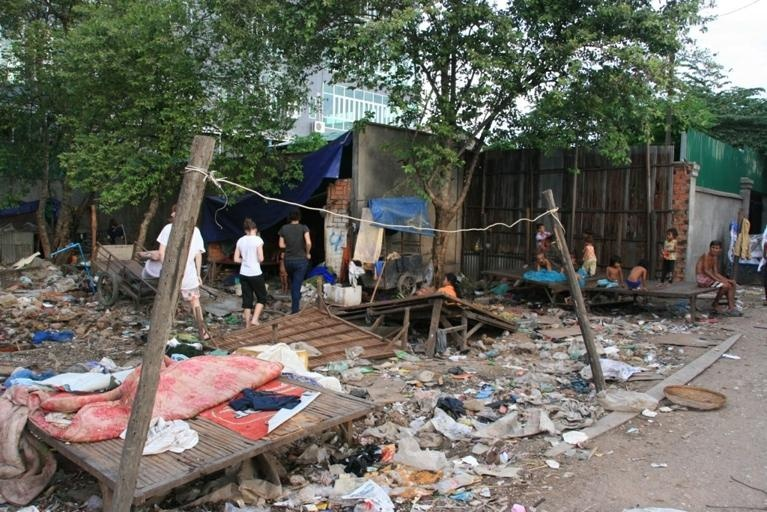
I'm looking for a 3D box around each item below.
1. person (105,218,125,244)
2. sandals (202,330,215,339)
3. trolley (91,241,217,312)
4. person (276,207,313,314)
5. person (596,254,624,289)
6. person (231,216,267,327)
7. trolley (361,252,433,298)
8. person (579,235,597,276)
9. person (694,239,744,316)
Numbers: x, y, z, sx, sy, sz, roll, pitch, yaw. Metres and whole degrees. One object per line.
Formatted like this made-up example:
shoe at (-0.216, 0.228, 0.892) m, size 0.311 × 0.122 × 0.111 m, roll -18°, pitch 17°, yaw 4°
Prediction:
person at (-8.020, -0.748, 18.874) m, size 0.467 × 0.703 × 0.731 m, roll 2°, pitch 3°, yaw -24°
sandals at (-3.226, 1.449, 11.565) m, size 0.229 × 0.050 × 0.205 m, roll -1°, pitch 4°, yaw -15°
trolley at (-5.918, 0.372, 14.533) m, size 2.858 × 1.228 × 1.710 m, roll 23°, pitch 16°, yaw 33°
person at (-1.845, 0.091, 12.993) m, size 0.640 × 2.157 × 0.904 m, roll 3°, pitch 3°, yaw -10°
person at (5.528, 0.379, 15.202) m, size 0.629 × 0.831 × 0.730 m, roll 1°, pitch 10°, yaw -35°
person at (-2.670, 0.331, 12.679) m, size 0.622 × 2.161 × 1.541 m, roll 2°, pitch 3°, yaw -12°
trolley at (0.303, 0.487, 15.914) m, size 0.963 × 0.758 × 1.598 m, roll -2°, pitch 0°, yaw 39°
person at (5.389, -0.030, 16.273) m, size 0.396 × 1.047 × 1.692 m, roll 4°, pitch 2°, yaw 18°
person at (7.572, 0.485, 14.089) m, size 1.430 × 1.635 × 0.791 m, roll 1°, pitch 4°, yaw -41°
